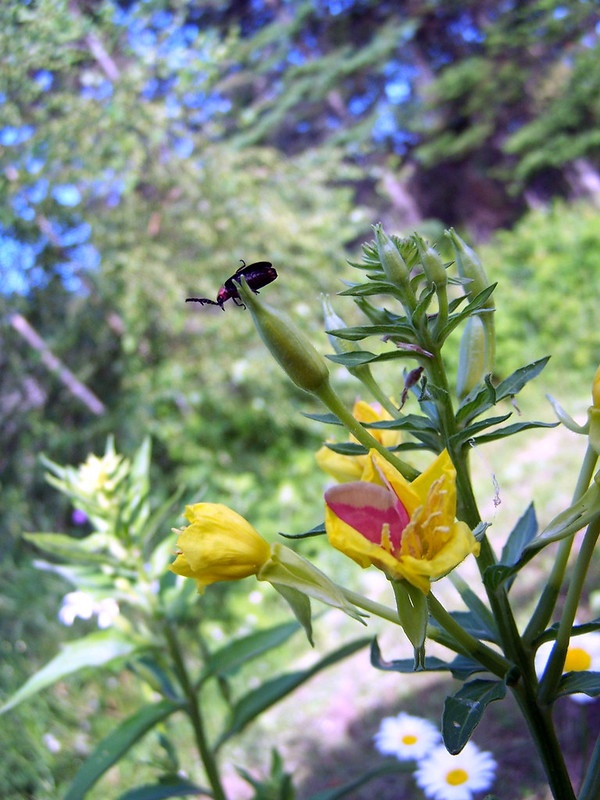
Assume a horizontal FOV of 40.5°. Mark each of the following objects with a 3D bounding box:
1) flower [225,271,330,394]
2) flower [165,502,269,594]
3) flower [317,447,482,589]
[{"bbox_3d":[-0.020,-0.067,0.834,0.055,0.146,0.039,-14,35,23],"label":"flower"},{"bbox_3d":[-0.057,0.148,0.846,0.147,0.072,0.174,-7,-9,-10],"label":"flower"},{"bbox_3d":[0.070,0.122,0.817,0.159,0.073,0.128,27,55,15],"label":"flower"}]
